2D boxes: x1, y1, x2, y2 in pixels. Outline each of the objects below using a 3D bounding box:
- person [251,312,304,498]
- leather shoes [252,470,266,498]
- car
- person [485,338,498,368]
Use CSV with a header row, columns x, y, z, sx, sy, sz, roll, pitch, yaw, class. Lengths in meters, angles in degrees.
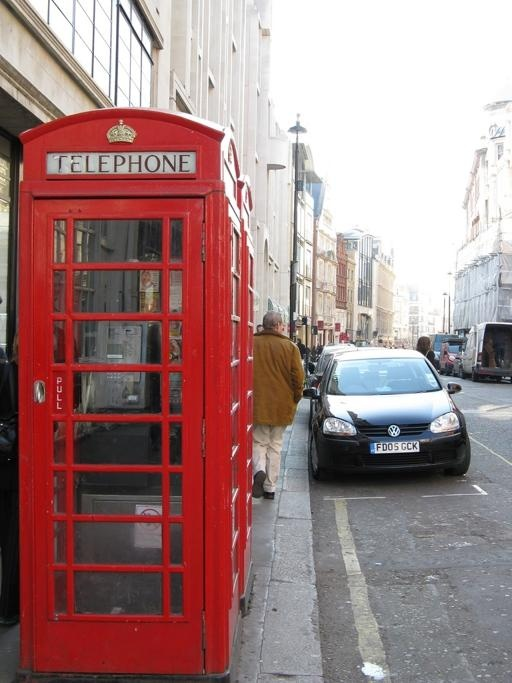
x,y,z,sx,sy,sz,roll,pitch,yaw,class
0.232,0.654,6.561,0.523,1.943,0.532,-1,-2,2,person
0.022,0.994,4.369,0.064,0.250,0.086,2,1,-6,leather shoes
1.611,0.848,8.262,1.105,1.163,2.486,-1,-9,2,car
12.842,0.625,34.810,0.803,1.812,0.423,-2,-2,32,person
